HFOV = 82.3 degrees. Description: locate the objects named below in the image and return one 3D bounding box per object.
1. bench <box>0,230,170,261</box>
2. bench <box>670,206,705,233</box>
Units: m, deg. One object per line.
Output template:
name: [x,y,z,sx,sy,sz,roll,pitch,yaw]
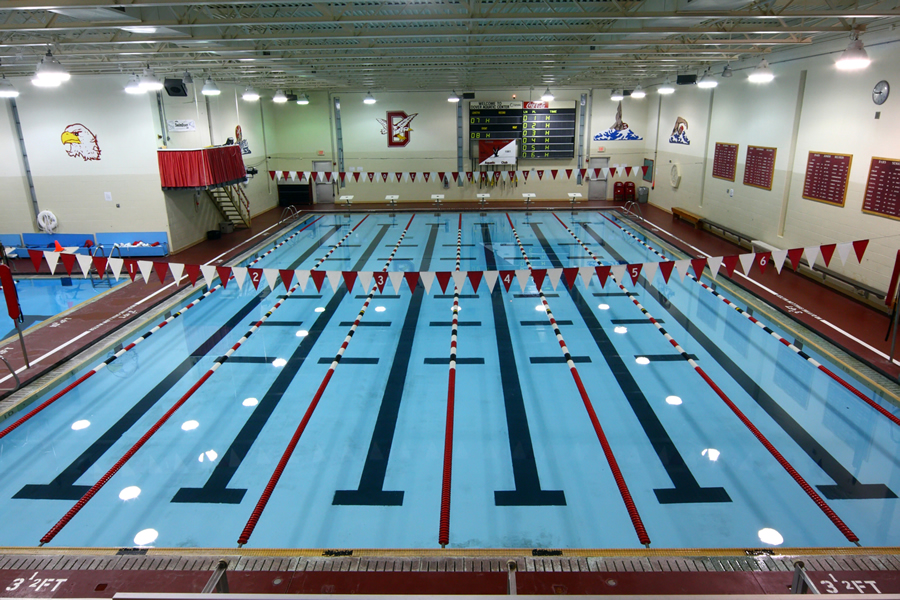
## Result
bench: [-8.737,-1.311,12.330,3.925,0.613,0.540,0,19,4]
bench: [6.662,-2.296,14.377,0.243,0.294,1.115,-16,26,-1]
